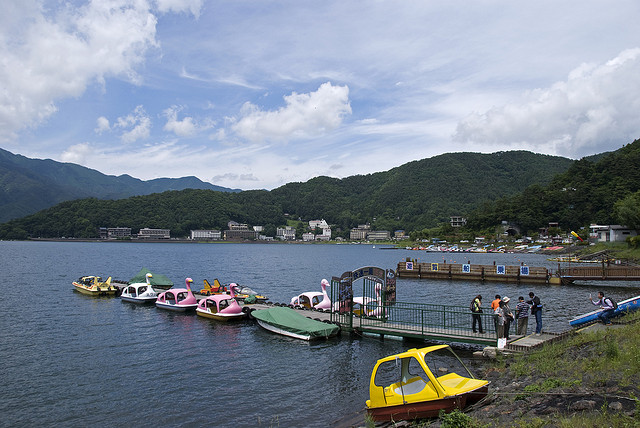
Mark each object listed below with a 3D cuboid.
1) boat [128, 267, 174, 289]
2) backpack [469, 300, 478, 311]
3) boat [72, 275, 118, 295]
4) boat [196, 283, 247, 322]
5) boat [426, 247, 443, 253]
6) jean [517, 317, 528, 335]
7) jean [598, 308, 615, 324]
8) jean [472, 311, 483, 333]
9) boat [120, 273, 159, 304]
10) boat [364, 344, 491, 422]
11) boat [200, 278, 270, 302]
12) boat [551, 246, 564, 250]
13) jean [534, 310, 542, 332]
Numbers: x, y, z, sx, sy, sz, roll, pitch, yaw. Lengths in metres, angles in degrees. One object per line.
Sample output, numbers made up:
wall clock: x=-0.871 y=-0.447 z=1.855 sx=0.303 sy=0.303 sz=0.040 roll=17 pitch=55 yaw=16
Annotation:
boat: x=-24.764 y=9.720 z=72.050 sx=4.794 sy=1.757 sz=3.668 roll=1 pitch=-4 yaw=31
backpack: x=12.590 y=7.583 z=40.778 sx=0.576 sy=0.708 sz=0.264 roll=13 pitch=-2 yaw=-7
boat: x=-32.374 y=10.272 z=71.107 sx=6.386 sy=2.404 sz=3.192 roll=-5 pitch=-6 yaw=44
boat: x=-10.605 y=10.250 z=53.553 sx=5.151 sy=2.578 sz=2.140 roll=-3 pitch=-5 yaw=32
boat: x=47.757 y=14.605 z=203.048 sx=4.378 sy=2.104 sz=9.278 roll=-1 pitch=-4 yaw=1
jean: x=16.484 y=9.078 z=40.072 sx=0.685 sy=1.463 sz=0.524 roll=0 pitch=-4 yaw=-8
jean: x=24.048 y=8.461 z=41.157 sx=1.150 sy=1.178 sz=1.012 roll=-1 pitch=-4 yaw=11
jean: x=13.111 y=8.907 z=41.034 sx=0.800 sy=1.796 sz=2.538 roll=-2 pitch=-4 yaw=17
boat: x=-23.437 y=9.660 z=64.196 sx=5.750 sy=3.254 sz=3.163 roll=-1 pitch=4 yaw=37
boat: x=5.647 y=11.440 z=32.947 sx=8.782 sy=5.367 sz=4.538 roll=2 pitch=-2 yaw=-20
boat: x=-11.243 y=10.150 z=65.572 sx=10.143 sy=3.042 sz=3.801 roll=0 pitch=-2 yaw=11
boat: x=75.614 y=10.811 z=156.985 sx=2.787 sy=1.005 sz=6.272 roll=-2 pitch=-5 yaw=24
jean: x=18.032 y=8.807 z=40.603 sx=0.320 sy=1.727 sz=0.494 roll=-1 pitch=-4 yaw=12
